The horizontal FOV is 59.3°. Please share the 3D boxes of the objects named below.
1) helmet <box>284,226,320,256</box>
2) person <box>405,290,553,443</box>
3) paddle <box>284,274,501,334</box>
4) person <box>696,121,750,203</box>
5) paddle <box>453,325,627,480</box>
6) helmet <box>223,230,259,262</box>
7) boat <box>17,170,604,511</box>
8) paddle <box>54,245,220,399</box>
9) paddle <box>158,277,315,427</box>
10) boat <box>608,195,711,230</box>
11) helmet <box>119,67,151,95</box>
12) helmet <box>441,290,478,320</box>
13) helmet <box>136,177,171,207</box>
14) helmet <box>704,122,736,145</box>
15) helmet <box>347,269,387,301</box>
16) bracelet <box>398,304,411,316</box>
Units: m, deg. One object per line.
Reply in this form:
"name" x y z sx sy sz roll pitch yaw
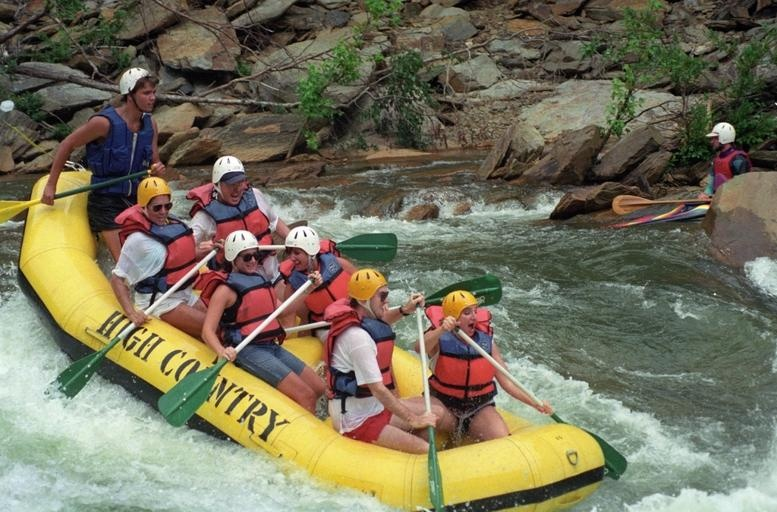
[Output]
"helmet" -0.860 -0.176 6.865 0.274 0.336 0.260 1 56 -40
"person" 0.870 1.152 6.773 1.506 1.635 0.722 3 -8 -15
"paddle" 0.011 0.509 6.860 2.381 0.300 0.238 -11 11 -15
"person" 5.196 -1.465 10.556 0.464 1.132 0.738 4 18 -19
"paddle" 1.482 1.418 6.402 1.720 1.122 0.311 13 18 13
"helmet" -1.463 -0.092 6.766 0.377 0.298 0.351 0 13 -6
"boat" -1.201 1.207 6.697 5.668 1.082 2.456 22 29 23
"paddle" -2.480 0.718 6.829 2.216 0.103 0.380 -34 65 -17
"paddle" -1.508 0.966 6.585 1.920 0.081 0.400 -34 69 -18
"boat" 4.119 -0.693 10.609 1.679 0.502 0.195 -5 -7 44
"helmet" -2.756 -1.882 7.409 0.327 0.308 0.242 7 17 -9
"helmet" 0.674 0.464 6.414 0.312 0.216 0.231 14 7 26
"helmet" -2.406 -0.653 6.980 0.289 0.278 0.335 -3 49 -21
"helmet" 5.157 -1.911 10.704 0.498 0.321 0.335 -2 7 17
"helmet" -0.202 0.261 6.301 0.380 0.265 0.287 -7 12 -9
"bracelet" 0.136 0.508 6.357 0.095 0.033 0.087 -4 54 -52
